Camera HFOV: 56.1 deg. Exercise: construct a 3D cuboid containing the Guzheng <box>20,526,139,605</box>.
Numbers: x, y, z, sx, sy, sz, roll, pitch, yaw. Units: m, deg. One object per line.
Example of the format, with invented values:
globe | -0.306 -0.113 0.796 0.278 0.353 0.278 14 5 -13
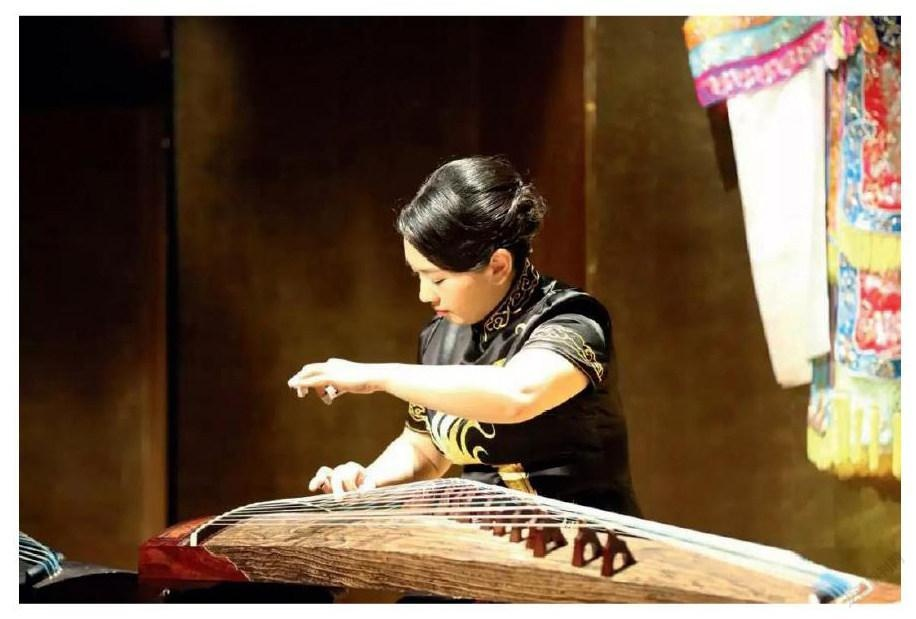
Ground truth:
Guzheng | -1.075 0.711 2.412 0.322 0.181 0.114 7 86 -4
